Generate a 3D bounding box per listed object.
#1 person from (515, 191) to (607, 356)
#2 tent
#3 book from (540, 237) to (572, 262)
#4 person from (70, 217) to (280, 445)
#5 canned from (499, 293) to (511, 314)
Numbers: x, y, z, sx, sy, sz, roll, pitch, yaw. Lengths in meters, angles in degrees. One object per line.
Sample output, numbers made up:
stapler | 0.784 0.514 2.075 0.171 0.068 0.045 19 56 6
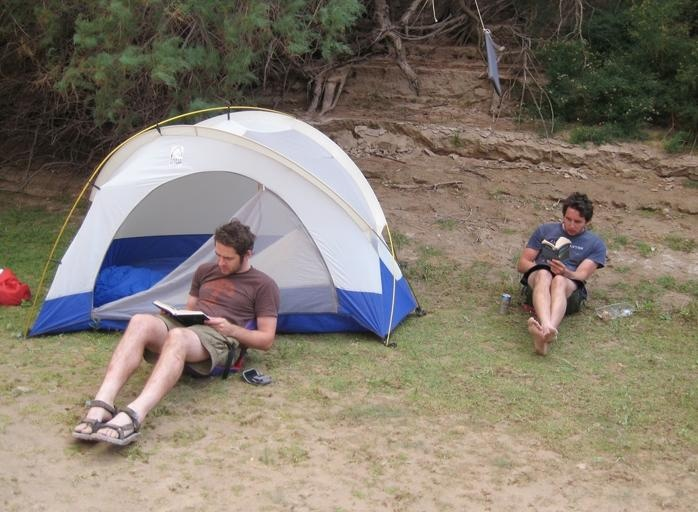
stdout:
person | 2.217 0.092 7.214 0.821 1.286 1.938 12 20 20
tent | -1.229 -0.326 8.256 3.405 2.118 3.108 1 13 6
book | 2.243 -0.069 7.285 0.253 0.279 0.401 15 16 41
person | -1.476 0.527 5.971 0.950 1.619 2.195 9 9 19
canned | 1.816 0.566 7.924 0.135 0.220 0.137 11 14 -4
